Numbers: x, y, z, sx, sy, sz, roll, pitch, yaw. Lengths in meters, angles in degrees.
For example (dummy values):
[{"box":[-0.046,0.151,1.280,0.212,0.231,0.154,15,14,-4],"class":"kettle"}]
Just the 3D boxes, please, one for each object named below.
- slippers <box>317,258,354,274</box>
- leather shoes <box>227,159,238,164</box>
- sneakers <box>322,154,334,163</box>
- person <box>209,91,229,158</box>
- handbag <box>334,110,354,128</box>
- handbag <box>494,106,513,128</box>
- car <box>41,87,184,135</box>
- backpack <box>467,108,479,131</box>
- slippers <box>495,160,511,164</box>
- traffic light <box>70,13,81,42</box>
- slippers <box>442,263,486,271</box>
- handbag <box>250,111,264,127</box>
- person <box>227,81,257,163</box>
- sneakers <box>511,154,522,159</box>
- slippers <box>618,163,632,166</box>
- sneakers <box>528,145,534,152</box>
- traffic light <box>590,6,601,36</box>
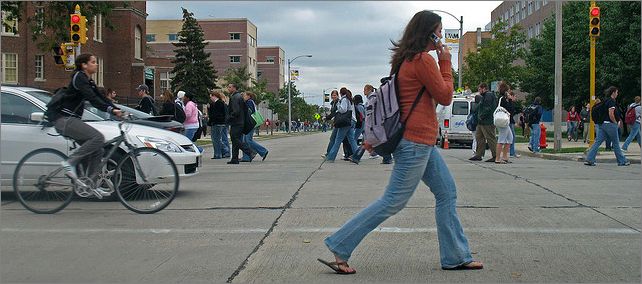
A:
[{"box":[0.499,3.489,16.218,1.167,0.233,0.381,10,3,12],"class":"slippers"},{"box":[-4.091,0.904,26.481,0.606,0.177,0.180,2,1,16],"class":"leather shoes"},{"box":[0.303,0.778,26.991,0.648,0.263,0.218,24,-22,44],"class":"sneakers"},{"box":[-5.062,-0.843,28.469,0.918,3.342,1.470,-2,6,-8],"class":"person"},{"box":[1.005,-1.049,26.062,0.983,0.823,0.508,6,-3,10],"class":"handbag"},{"box":[8.137,-1.134,26.158,1.155,0.882,0.597,4,12,30],"class":"handbag"},{"box":[-7.513,-1.107,20.816,4.474,1.086,1.731,1,3,3],"class":"car"},{"box":[7.393,-1.041,28.384,0.447,0.877,0.703,0,23,11],"class":"backpack"},{"box":[8.251,0.895,26.240,0.827,0.106,0.541,0,5,9],"class":"slippers"},{"box":[-11.840,-5.514,27.985,0.470,1.386,0.230,-3,6,-18],"class":"traffic light"},{"box":[4.015,3.461,16.401,1.148,0.296,0.344,-1,-2,2],"class":"slippers"},{"box":[-3.103,-1.063,26.825,0.279,0.670,0.621,-20,13,48],"class":"handbag"},{"box":[-3.669,-0.842,26.429,1.265,3.626,0.894,-3,6,-18],"class":"person"},{"box":[9.697,0.680,28.709,0.667,0.204,0.203,-2,5,-7],"class":"sneakers"},{"box":[13.364,0.973,25.520,0.527,0.140,0.163,-1,11,-10],"class":"slippers"},{"box":[11.078,0.329,30.690,0.217,0.209,0.562,5,-22,27],"class":"sneakers"},{"box":[14.066,-6.260,29.806,0.392,1.421,0.260,3,7,37],"class":"traffic light"}]
